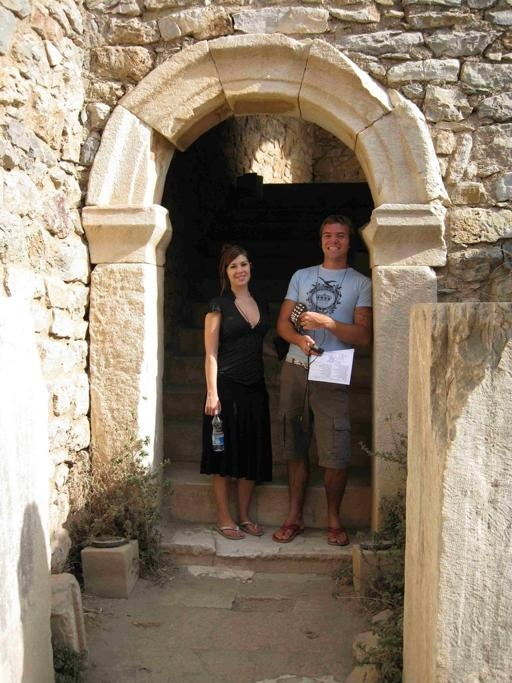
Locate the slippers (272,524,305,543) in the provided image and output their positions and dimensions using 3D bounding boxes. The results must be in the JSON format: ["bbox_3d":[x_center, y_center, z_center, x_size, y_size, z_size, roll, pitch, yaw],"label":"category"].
[{"bbox_3d":[0.155,0.940,3.577,0.148,0.044,0.070,-6,12,-38],"label":"slippers"}]

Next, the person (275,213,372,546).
[{"bbox_3d":[0.326,0.188,3.557,0.461,1.586,0.532,2,13,1],"label":"person"}]

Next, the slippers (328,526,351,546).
[{"bbox_3d":[0.397,0.943,3.503,0.104,0.051,0.223,0,1,4],"label":"slippers"}]

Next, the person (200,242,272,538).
[{"bbox_3d":[-0.101,0.251,3.623,0.346,1.434,0.460,1,13,-3],"label":"person"}]

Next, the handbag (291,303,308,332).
[{"bbox_3d":[0.197,-0.104,3.427,0.072,0.146,0.142,2,12,3],"label":"handbag"}]

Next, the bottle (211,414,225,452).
[{"bbox_3d":[-0.187,0.452,3.498,0.067,0.192,0.135,1,12,-4],"label":"bottle"}]

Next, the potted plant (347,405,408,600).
[{"bbox_3d":[0.552,0.750,3.284,0.341,0.764,0.862,1,4,7],"label":"potted plant"}]

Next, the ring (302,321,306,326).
[{"bbox_3d":[0.220,-0.080,3.352,0.023,0.026,0.004,8,14,27],"label":"ring"}]

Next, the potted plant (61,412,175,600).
[{"bbox_3d":[-0.655,0.762,3.345,0.433,0.567,0.580,0,12,-8],"label":"potted plant"}]
